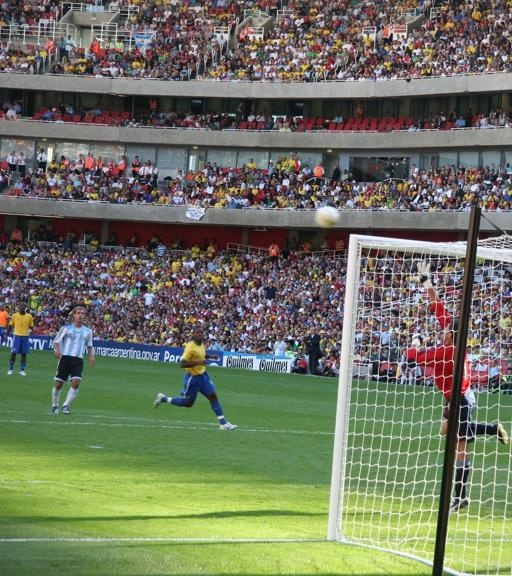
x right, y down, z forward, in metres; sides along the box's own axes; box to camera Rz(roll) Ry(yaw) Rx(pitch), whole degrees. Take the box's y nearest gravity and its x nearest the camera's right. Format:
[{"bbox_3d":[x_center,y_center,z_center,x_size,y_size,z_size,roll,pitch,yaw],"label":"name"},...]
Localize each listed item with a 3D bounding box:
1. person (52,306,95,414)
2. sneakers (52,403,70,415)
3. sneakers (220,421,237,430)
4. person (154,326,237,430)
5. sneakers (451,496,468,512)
[{"bbox_3d":[-3.269,1.310,26.629,0.701,1.983,0.767,0,5,-9],"label":"person"},{"bbox_3d":[-3.567,2.211,26.912,0.139,0.209,0.429,4,-10,-34],"label":"sneakers"},{"bbox_3d":[-0.487,2.380,25.585,0.314,0.158,0.130,2,-7,2],"label":"sneakers"},{"bbox_3d":[-1.022,1.578,25.304,1.267,1.791,0.848,1,5,-3],"label":"person"},{"bbox_3d":[2.908,3.131,21.411,0.136,0.157,0.351,-12,3,-5],"label":"sneakers"}]
